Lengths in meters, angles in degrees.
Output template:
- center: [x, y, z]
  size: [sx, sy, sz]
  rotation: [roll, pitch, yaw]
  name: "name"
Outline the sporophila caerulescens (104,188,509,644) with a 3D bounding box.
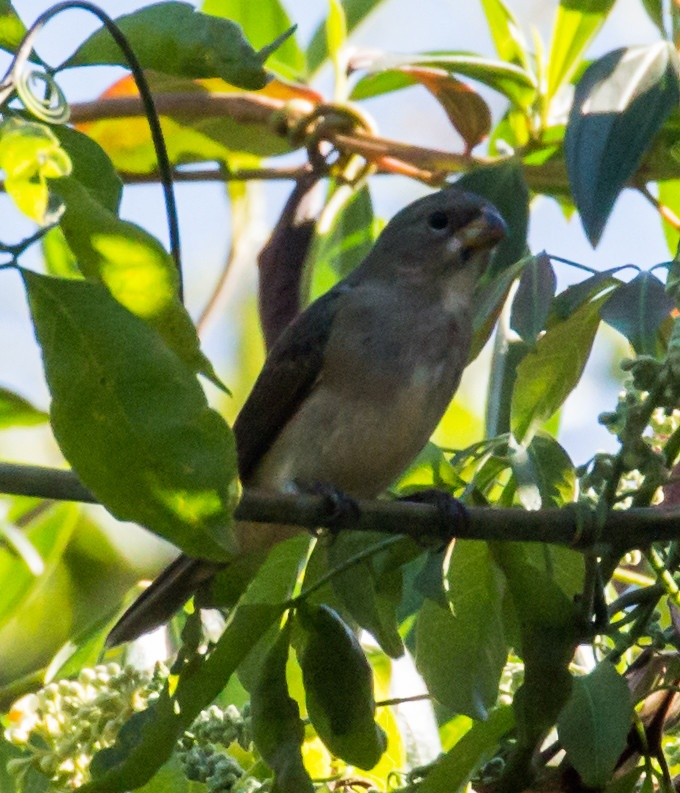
- center: [0.000, 0.013, 1.513]
  size: [0.213, 0.322, 0.579]
  rotation: [13, -18, -27]
  name: "sporophila caerulescens"
